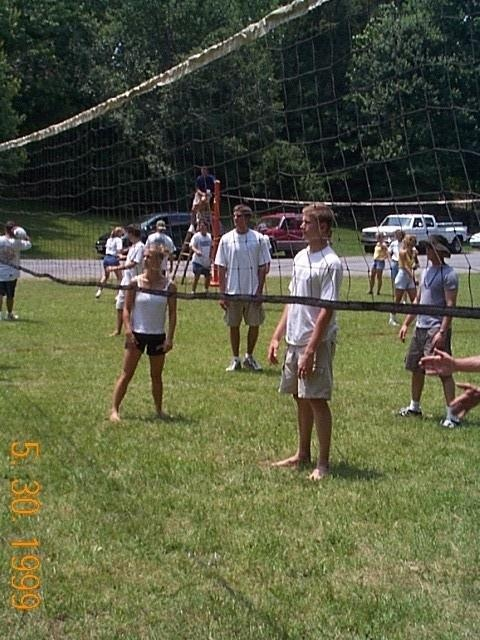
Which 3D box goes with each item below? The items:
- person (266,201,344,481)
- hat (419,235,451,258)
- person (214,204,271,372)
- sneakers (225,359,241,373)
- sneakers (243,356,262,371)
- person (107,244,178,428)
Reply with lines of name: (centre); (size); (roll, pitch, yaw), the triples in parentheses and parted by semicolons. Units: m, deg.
person: (0.435, 0.117, 4.942); (0.428, 1.769, 0.834); (0, 4, -1)
hat: (1.653, -0.618, 6.298); (0.219, 0.186, 0.642); (1, 5, 16)
person: (0.041, -0.342, 8.078); (0.580, 1.812, 0.896); (0, 4, 0)
sneakers: (-0.071, 0.509, 8.195); (0.180, 0.194, 0.085); (0, 2, -5)
sneakers: (0.151, 0.506, 8.295); (0.092, 0.144, 0.266); (-6, 16, -33)
person: (-0.787, 0.174, 6.095); (0.544, 1.264, 0.456); (-1, 4, -9)
